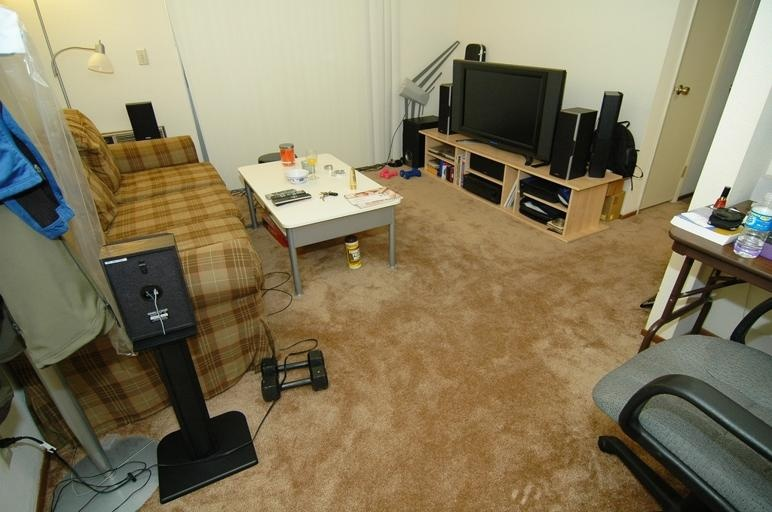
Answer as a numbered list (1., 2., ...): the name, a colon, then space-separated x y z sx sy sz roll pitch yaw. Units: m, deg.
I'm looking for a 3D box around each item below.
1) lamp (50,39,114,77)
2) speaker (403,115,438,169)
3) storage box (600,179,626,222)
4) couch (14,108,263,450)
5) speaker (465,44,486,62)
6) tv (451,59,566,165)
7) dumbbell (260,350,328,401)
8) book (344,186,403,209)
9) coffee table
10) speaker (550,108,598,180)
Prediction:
1. lamp: -2.458 -1.550 4.175 0.440 0.314 0.750 -19 35 -25
2. speaker: 0.378 -1.240 5.629 0.406 0.561 0.314 -12 34 -20
3. storage box: 1.990 -0.490 4.544 0.218 0.367 0.094 -15 33 -18
4. couch: -1.653 -0.210 3.662 1.337 1.351 2.433 -12 32 -14
5. speaker: 0.885 -2.002 5.115 0.120 0.205 0.216 -14 39 -23
6. tv: 1.038 -1.332 4.647 0.121 0.766 1.223 -23 36 -29
7. dumbbell: -0.567 0.693 3.168 0.402 0.176 0.290 -10 32 -11
8. book: -0.114 -0.428 3.879 0.366 0.044 0.278 -17 34 -21
9. coffee table: -0.526 -0.203 3.985 0.890 0.653 1.247 -17 34 -27
10. speaker: 1.480 -0.924 4.280 0.292 0.602 0.335 -20 36 -37
